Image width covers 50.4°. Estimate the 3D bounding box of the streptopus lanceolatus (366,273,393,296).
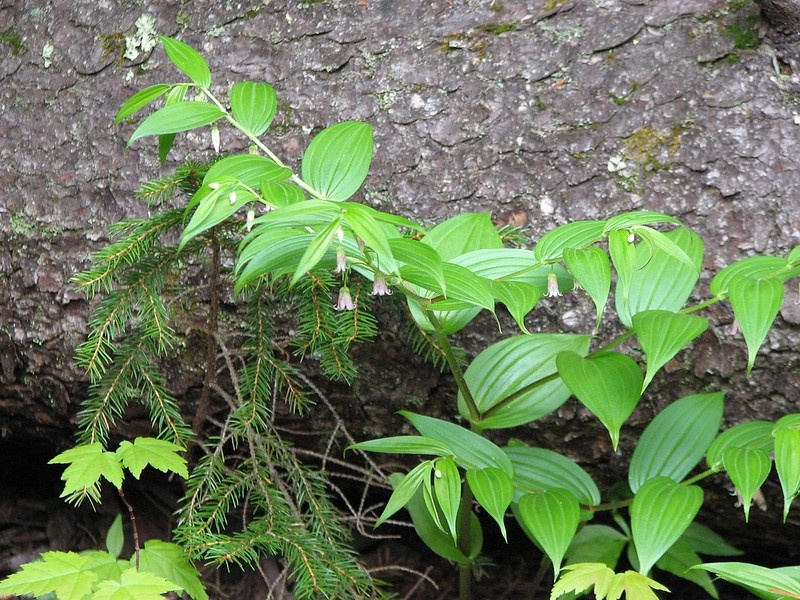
[{"bbox_3d":[-0.066,-0.042,2.721,0.066,0.066,0.068,-27,103,-37],"label":"streptopus lanceolatus"}]
